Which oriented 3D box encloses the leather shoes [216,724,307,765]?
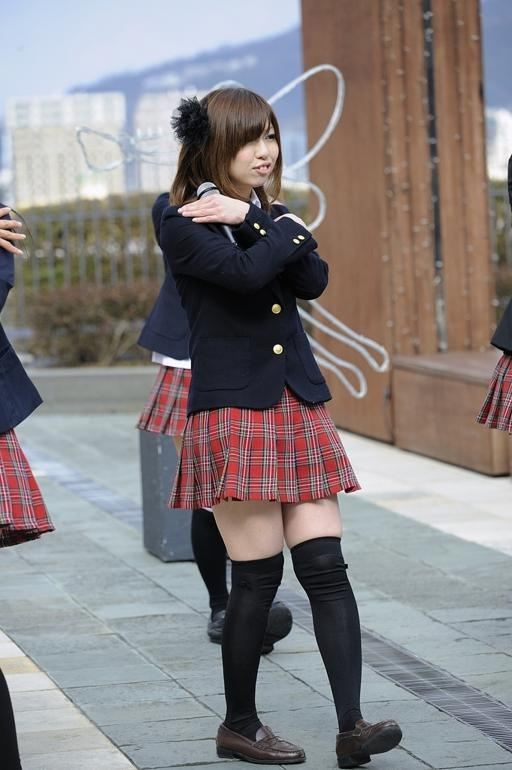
[{"bbox_3d":[0.008,0.699,2.052,0.153,0.053,0.073,-1,-8,15],"label":"leather shoes"}]

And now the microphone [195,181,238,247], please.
[{"bbox_3d":[-0.087,-0.342,2.077,0.047,0.161,0.048,-41,-24,22],"label":"microphone"}]

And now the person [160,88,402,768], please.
[{"bbox_3d":[0.048,0.079,2.013,0.345,1.329,0.522,-6,6,-22],"label":"person"}]
